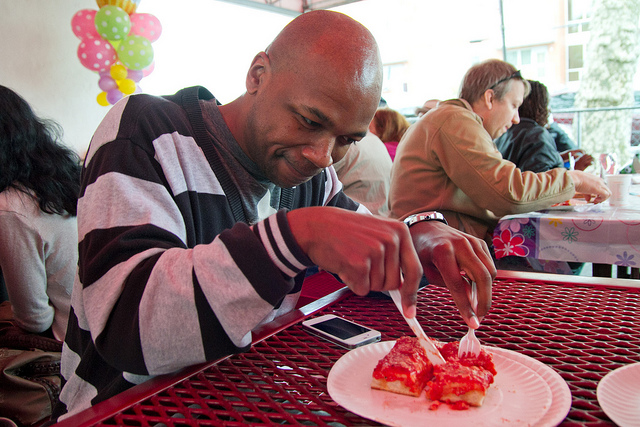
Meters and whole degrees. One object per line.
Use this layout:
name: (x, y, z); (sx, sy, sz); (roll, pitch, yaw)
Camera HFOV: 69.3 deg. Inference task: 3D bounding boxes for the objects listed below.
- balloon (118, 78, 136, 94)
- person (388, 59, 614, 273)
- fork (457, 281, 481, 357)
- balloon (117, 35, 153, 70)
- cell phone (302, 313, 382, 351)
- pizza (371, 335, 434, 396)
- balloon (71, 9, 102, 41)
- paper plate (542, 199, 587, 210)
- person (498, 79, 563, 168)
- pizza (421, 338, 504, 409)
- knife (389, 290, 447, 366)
balloon: (-2.213, -1.463, 5.303); (0.191, 0.182, 0.117); (-6, 10, -19)
person: (1.101, -0.254, 2.778); (1.165, 1.179, 1.016); (-5, 13, -20)
fork: (0.384, 0.287, 1.187); (0.040, 0.023, 0.283); (10, 50, 16)
balloon: (-2.074, -1.796, 5.157); (0.283, 0.275, 0.322); (27, -19, 3)
cell phone: (0.055, 0.328, 1.266); (0.119, 0.020, 0.202); (-12, 15, -34)
pizza: (0.225, 0.373, 1.179); (0.122, 0.058, 0.203); (2, 13, 27)
balloon: (-2.583, -2.083, 5.097); (0.337, 0.316, 0.121); (-2, 10, 6)
paper plate: (1.410, -0.050, 2.683); (0.166, 0.042, 0.162); (-5, -8, -6)
person: (1.861, -0.828, 4.065); (0.423, 0.642, 0.910); (-3, 19, -2)
pizza: (0.345, 0.388, 1.114); (0.177, 0.096, 0.169); (0, 9, 21)
knife: (0.260, 0.311, 1.232); (0.024, 0.218, 0.031); (-32, 3, 36)
